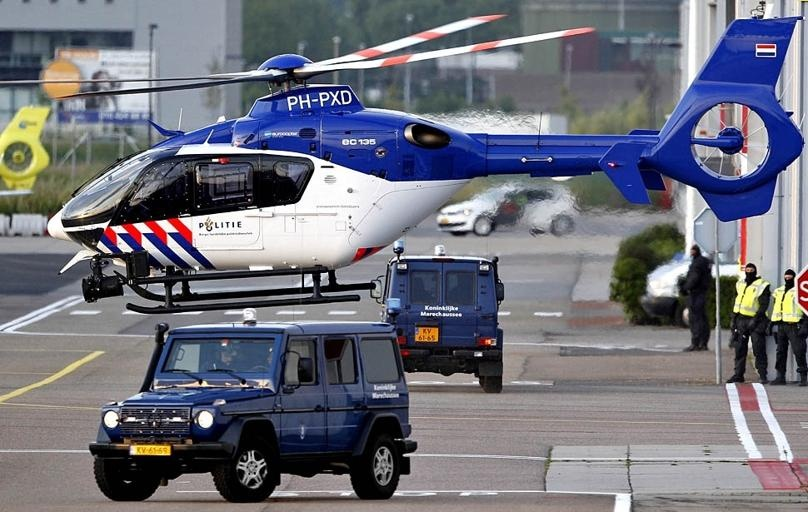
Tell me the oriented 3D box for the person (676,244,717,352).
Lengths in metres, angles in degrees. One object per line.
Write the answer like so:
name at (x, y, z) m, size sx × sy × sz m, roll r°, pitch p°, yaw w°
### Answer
person at (9.638, 1.287, 64.477) m, size 0.962 × 3.094 × 1.258 m, roll 2°, pitch -2°, yaw -5°

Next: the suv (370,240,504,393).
suv at (1.113, 1.590, 59.609) m, size 3.748 × 3.520 × 8.821 m, roll 0°, pitch 1°, yaw -2°
